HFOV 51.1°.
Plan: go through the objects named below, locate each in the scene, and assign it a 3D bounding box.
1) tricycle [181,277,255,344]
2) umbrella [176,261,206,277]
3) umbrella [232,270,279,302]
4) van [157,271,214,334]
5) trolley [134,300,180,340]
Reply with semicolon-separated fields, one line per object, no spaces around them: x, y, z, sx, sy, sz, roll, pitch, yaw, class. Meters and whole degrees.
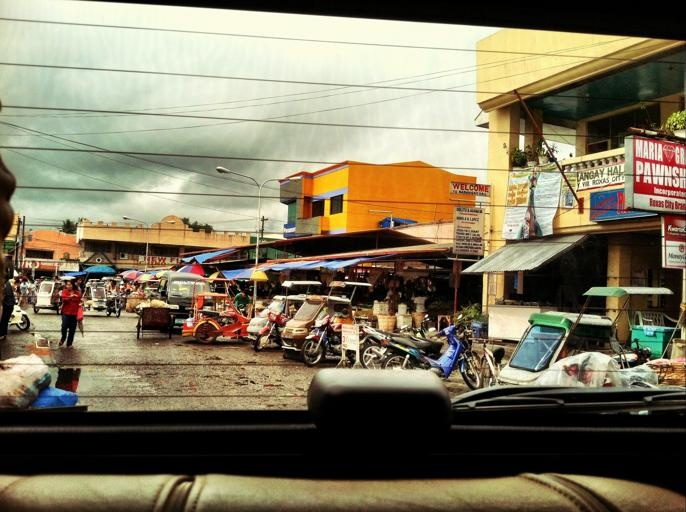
-2.607;1.153;14.977;1.742;1.261;1.015;3;3;-35;tricycle
-2.754;0.259;12.872;0.605;0.256;0.717;8;-5;-21;umbrella
-2.459;0.854;20.101;1.232;0.936;1.015;6;2;-10;umbrella
-4.129;1.014;19.433;1.376;1.185;1.963;2;-5;-22;van
-3.382;1.115;12.933;1.237;0.647;1.108;2;-5;-14;trolley
